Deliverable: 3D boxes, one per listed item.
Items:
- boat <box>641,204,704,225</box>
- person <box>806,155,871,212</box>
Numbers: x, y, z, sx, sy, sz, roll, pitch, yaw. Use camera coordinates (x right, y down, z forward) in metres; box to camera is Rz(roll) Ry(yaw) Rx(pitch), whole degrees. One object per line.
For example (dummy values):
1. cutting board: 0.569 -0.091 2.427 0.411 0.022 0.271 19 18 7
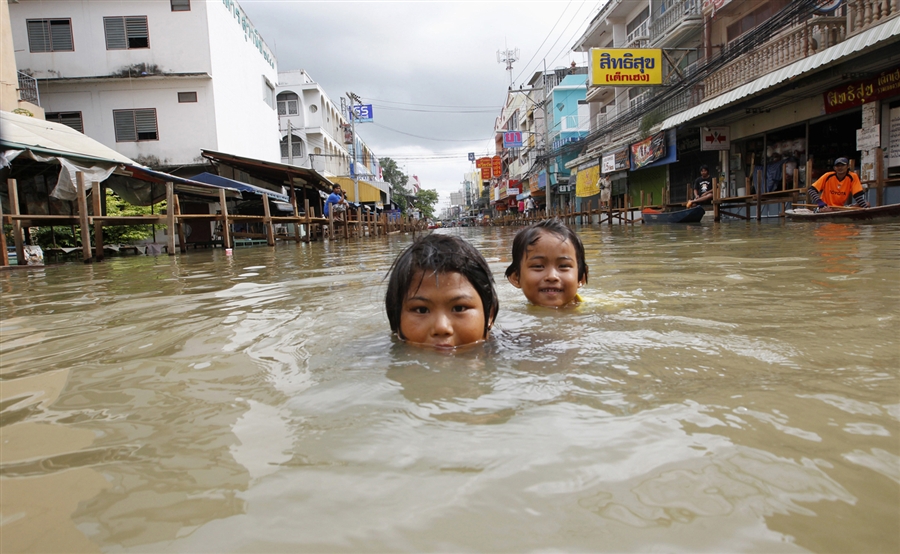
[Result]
1. boat: 7.430 -2.027 18.165 0.591 0.357 2.541 -2 3 -3
2. person: 8.394 -2.009 11.805 0.674 1.050 1.275 -4 5 -6
